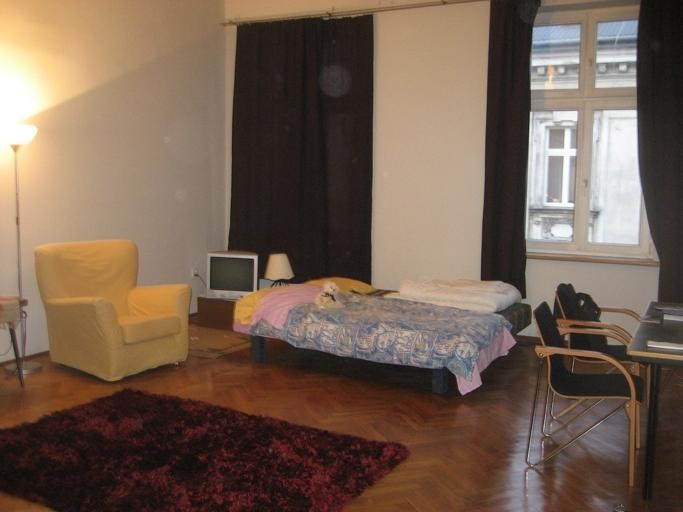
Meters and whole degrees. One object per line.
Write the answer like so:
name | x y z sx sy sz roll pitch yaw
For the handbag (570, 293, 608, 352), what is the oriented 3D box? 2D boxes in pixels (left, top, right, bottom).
handbag | 2.033 0.537 4.616 0.422 0.452 0.356 0 4 34

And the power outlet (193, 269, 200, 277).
power outlet | -1.807 0.211 6.967 0.050 0.068 0.071 -1 -5 0

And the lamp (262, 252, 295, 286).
lamp | -0.720 0.173 6.775 0.375 0.373 0.375 -3 12 3

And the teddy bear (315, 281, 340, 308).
teddy bear | -0.102 0.356 5.160 0.234 0.228 0.214 3 -4 -35

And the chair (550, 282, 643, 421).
chair | 1.981 0.625 4.445 0.771 0.910 0.737 -1 8 34

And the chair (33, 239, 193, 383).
chair | -2.100 0.356 5.321 1.295 1.353 1.225 2 4 37

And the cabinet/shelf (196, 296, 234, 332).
cabinet/shelf | -1.491 0.666 6.556 0.560 0.360 0.094 5 12 24

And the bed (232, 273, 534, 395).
bed | 0.261 0.678 5.011 2.290 0.826 0.921 6 12 27
